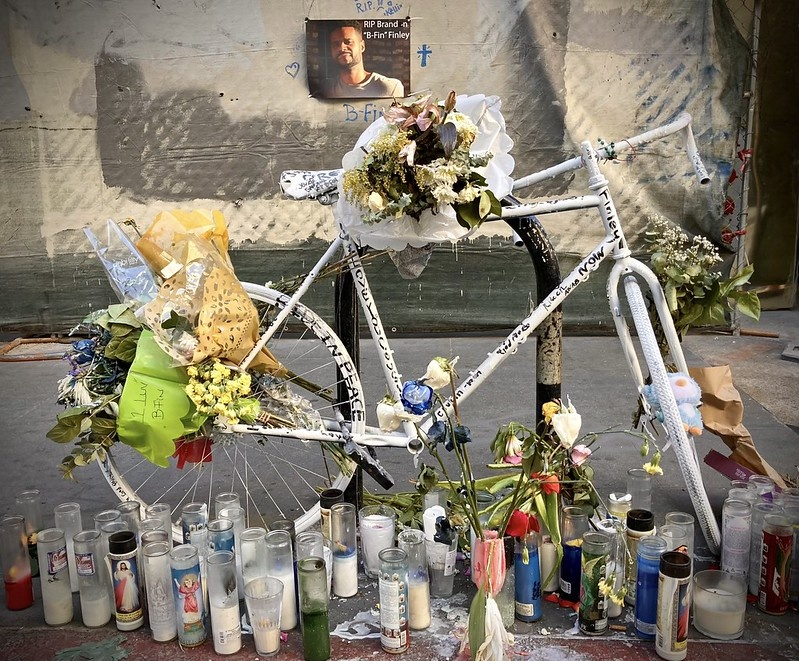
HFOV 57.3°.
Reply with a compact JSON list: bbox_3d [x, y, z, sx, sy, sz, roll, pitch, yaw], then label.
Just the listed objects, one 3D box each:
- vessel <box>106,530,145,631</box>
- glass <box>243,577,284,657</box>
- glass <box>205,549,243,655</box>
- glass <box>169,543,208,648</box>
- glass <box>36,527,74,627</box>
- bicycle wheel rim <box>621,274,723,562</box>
[{"bbox_3d":[-0.889,0.818,2.378,0.101,0.326,0.124,-2,-3,-14],"label":"vessel"},{"bbox_3d":[-0.420,0.884,2.280,0.110,0.253,0.151,-2,-3,-11],"label":"glass"},{"bbox_3d":[-0.546,0.852,2.297,0.092,0.323,0.141,-2,-3,-11],"label":"glass"},{"bbox_3d":[-0.669,0.842,2.328,0.103,0.324,0.137,-2,-3,-15],"label":"glass"},{"bbox_3d":[-1.140,0.817,2.434,0.101,0.316,0.137,-1,-4,-24],"label":"glass"},{"bbox_3d":[1.030,0.355,2.767,0.127,1.068,0.402,-21,-15,17],"label":"bicycle wheel rim"}]
